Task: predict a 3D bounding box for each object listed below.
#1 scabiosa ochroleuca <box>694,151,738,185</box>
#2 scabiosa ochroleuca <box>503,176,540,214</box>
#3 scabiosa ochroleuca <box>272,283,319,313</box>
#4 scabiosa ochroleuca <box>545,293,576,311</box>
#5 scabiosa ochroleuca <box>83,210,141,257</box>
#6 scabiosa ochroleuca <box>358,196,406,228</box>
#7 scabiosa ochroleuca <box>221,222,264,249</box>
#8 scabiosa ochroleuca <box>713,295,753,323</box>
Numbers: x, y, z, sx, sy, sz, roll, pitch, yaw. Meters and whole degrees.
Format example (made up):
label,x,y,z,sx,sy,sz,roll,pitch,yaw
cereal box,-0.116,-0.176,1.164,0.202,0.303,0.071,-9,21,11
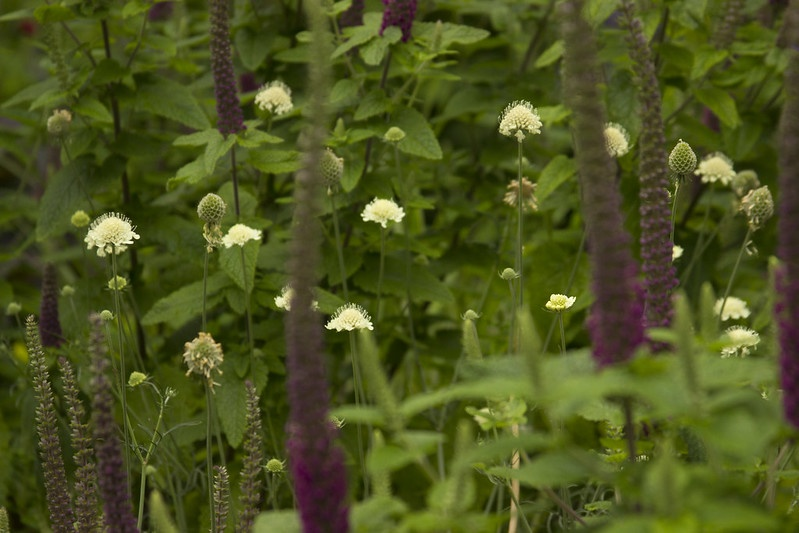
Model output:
label,x,y,z,sx,sy,sz,roll,pitch,yaw
scabiosa ochroleuca,1.234,-0.411,5.253,0.142,0.145,0.055,-7,-13,-16
scabiosa ochroleuca,0.479,-0.279,5.083,0.137,0.144,0.094,7,-15,-12
scabiosa ochroleuca,-0.330,0.098,4.323,0.183,0.110,0.060,16,19,42
scabiosa ochroleuca,0.586,0.130,4.822,0.094,0.064,0.147,-10,-7,7
scabiosa ochroleuca,-1.053,-0.126,4.889,0.175,0.192,0.253,-7,-7,-11
scabiosa ochroleuca,-0.069,-0.180,4.992,0.134,0.050,0.134,19,39,28
scabiosa ochroleuca,-0.578,-0.115,4.859,0.104,0.072,0.101,-23,10,-39
scabiosa ochroleuca,1.262,0.163,5.076,0.122,0.047,0.121,-17,32,-24
